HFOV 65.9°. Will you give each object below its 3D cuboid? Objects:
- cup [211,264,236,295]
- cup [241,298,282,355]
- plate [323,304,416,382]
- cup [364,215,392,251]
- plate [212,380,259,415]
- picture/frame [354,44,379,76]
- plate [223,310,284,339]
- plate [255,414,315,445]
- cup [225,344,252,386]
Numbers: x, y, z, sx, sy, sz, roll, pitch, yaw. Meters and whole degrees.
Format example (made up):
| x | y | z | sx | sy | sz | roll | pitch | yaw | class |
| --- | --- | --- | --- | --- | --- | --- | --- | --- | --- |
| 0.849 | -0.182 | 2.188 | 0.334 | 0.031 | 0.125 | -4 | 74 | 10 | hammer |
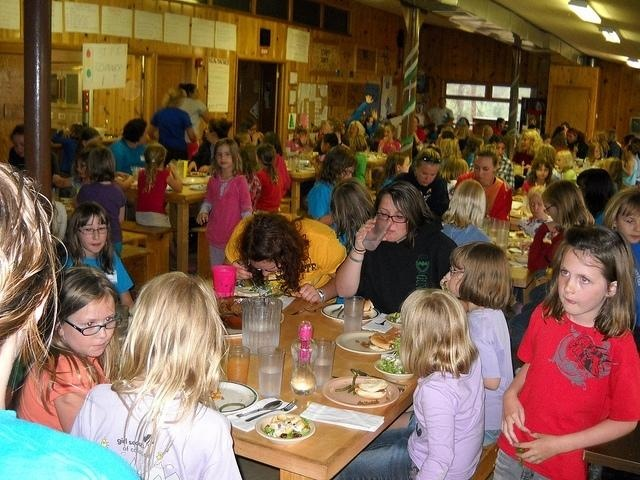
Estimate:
| x | y | z | sx | sy | sz | roll | pitch | yaw | class |
| --- | --- | --- | --- | --- | --- | --- | --- | --- | --- |
| -0.505 | 0.204 | 2.682 | 0.147 | 0.216 | 0.134 | 0 | 2 | 0 | cup |
| -0.259 | 0.376 | 2.323 | 0.214 | 0.270 | 0.217 | 1 | 5 | 0 | cup |
| 0.247 | 0.486 | 2.321 | 0.231 | 0.048 | 0.312 | -9 | 26 | -36 | plate |
| 0.323 | -0.034 | 2.807 | 0.110 | 0.216 | 0.050 | 26 | -7 | 15 | cup |
| -0.320 | 0.586 | 1.832 | 0.164 | 0.030 | 0.171 | 11 | 25 | 15 | plate |
| 1.304 | -4.940 | 13.687 | 0.157 | 0.670 | 1.174 | 7 | 8 | 30 | picture/frame |
| -0.314 | 0.367 | 2.286 | 0.210 | 0.150 | 0.177 | -2 | -2 | 11 | plate |
| -0.115 | 0.633 | 1.659 | 0.104 | 0.042 | 0.109 | 3 | 8 | 5 | plate |
| -0.336 | 0.503 | 2.009 | 0.112 | 0.143 | 0.126 | 1 | 10 | -5 | cup |
